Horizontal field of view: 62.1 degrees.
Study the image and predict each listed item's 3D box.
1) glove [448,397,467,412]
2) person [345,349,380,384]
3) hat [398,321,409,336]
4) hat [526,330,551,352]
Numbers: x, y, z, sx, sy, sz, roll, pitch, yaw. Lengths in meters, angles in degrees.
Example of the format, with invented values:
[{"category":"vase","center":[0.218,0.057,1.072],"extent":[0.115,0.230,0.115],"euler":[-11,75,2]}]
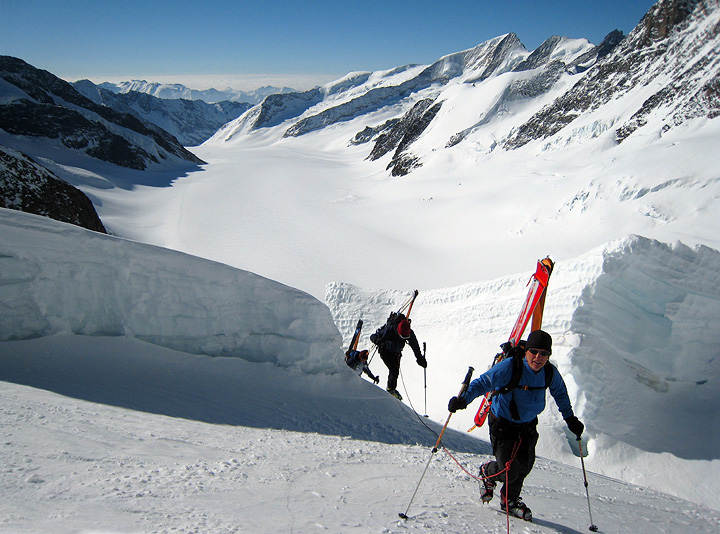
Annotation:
[{"category":"glove","center":[1.904,2.699,11.696],"extent":[0.298,0.365,0.273],"euler":[10,14,5]},{"category":"person","center":[0.192,3.052,19.212],"extent":[0.410,1.012,1.134],"euler":[-4,48,-51]},{"category":"hat","center":[1.282,1.797,17.166],"extent":[0.377,0.506,0.202],"euler":[8,14,0]},{"category":"hat","center":[3.566,1.457,11.738],"extent":[0.404,0.341,0.438],"euler":[9,-21,25]}]
